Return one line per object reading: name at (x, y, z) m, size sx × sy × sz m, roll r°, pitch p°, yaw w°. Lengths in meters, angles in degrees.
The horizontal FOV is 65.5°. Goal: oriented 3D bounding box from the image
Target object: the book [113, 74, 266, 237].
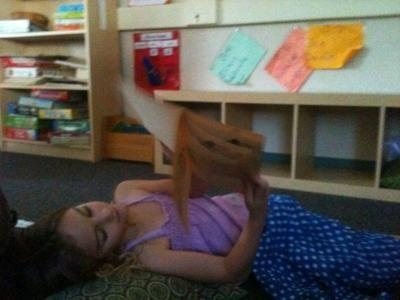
book at (-0.014, 0.011, 0.673) m, size 0.289 × 0.307 × 0.164 m, roll 5°, pitch 16°, yaw 10°
